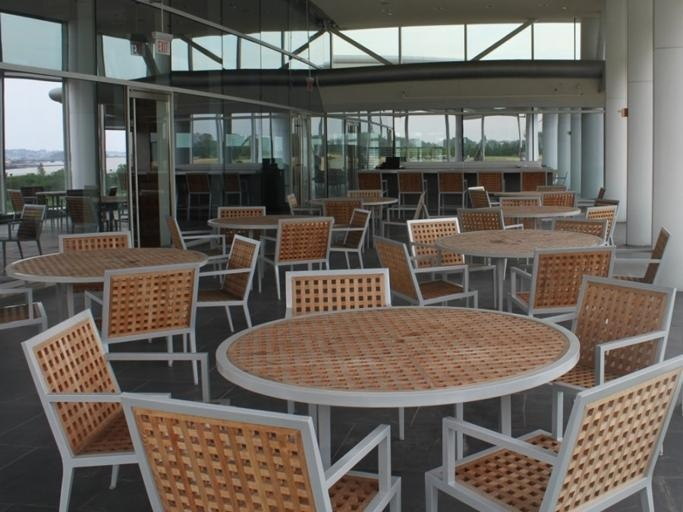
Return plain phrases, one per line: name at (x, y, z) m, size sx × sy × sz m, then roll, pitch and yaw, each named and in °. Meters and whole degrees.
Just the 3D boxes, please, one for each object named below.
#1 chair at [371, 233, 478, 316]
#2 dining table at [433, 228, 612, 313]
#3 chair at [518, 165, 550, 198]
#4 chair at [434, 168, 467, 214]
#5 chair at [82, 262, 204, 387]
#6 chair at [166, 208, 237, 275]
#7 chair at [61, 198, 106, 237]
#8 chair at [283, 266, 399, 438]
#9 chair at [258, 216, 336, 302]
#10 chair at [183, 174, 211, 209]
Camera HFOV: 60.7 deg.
chair at (0.650, 0.217, 4.269) m, size 0.638 × 0.738 × 0.576 m, roll -8°, pitch 10°, yaw -6°
dining table at (1.493, 0.016, 5.572) m, size 1.157 × 0.680 × 1.108 m, roll 8°, pitch 16°, yaw 6°
chair at (5.295, -2.072, 15.800) m, size 0.725 × 0.556 × 0.726 m, roll 4°, pitch 13°, yaw 25°
chair at (3.059, -1.658, 15.884) m, size 0.745 × 1.207 × 0.820 m, roll 2°, pitch 11°, yaw 6°
chair at (-1.218, 0.420, 3.771) m, size 0.672 × 0.716 × 0.646 m, roll -9°, pitch 9°, yaw -39°
chair at (-1.670, -0.051, 6.206) m, size 0.512 × 0.523 × 0.515 m, roll 23°, pitch 1°, yaw 15°
chair at (-3.354, -0.533, 7.515) m, size 0.415 × 0.546 × 0.327 m, roll 6°, pitch 9°, yaw 28°
chair at (-0.033, 0.527, 3.011) m, size 0.592 × 0.737 × 0.564 m, roll -3°, pitch 22°, yaw -2°
chair at (-0.496, -0.068, 6.512) m, size 0.687 × 0.856 × 0.670 m, roll -1°, pitch 19°, yaw -12°
chair at (-2.451, -1.118, 9.894) m, size 0.409 × 0.721 × 0.510 m, roll 0°, pitch 22°, yaw -13°
